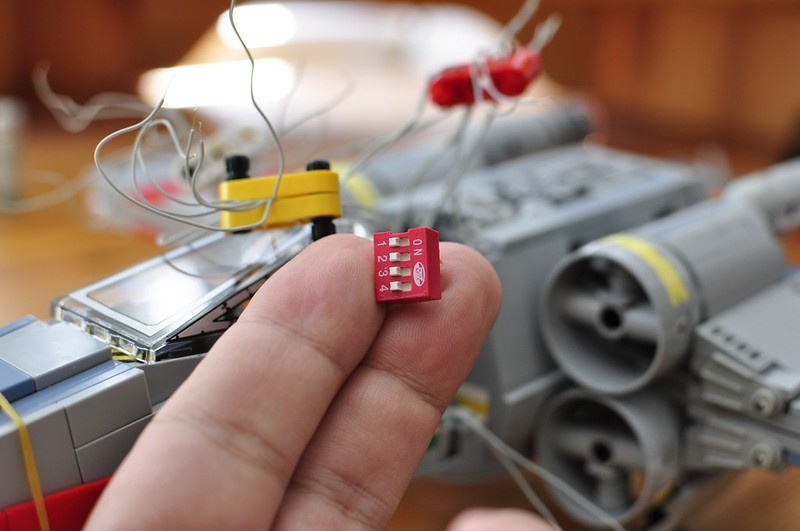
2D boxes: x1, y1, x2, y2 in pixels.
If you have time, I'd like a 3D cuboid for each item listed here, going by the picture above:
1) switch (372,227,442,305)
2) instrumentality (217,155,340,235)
[{"bbox_3d":[0.006,0.002,0.647,0.056,0.026,0.065,-6,74,13],"label":"switch"},{"bbox_3d":[-0.127,-0.071,0.748,0.121,0.103,0.040,-3,10,8],"label":"instrumentality"}]
